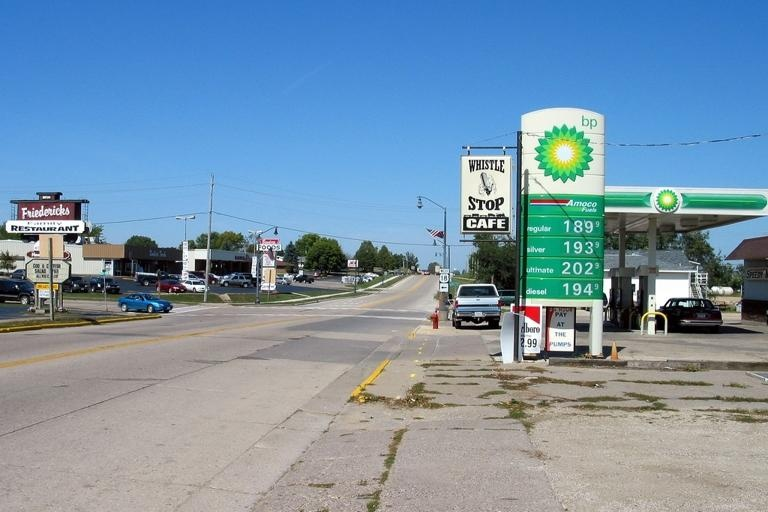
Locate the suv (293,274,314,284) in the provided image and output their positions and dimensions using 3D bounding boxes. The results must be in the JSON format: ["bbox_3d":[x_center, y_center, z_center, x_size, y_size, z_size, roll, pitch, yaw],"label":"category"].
[{"bbox_3d":[-12.900,3.817,107.172,2.445,1.113,1.579,4,1,19],"label":"suv"}]

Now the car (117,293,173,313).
[{"bbox_3d":[-15.258,3.118,42.743,3.231,1.004,1.443,-1,-2,8],"label":"car"}]

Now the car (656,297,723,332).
[{"bbox_3d":[13.433,2.621,29.618,1.443,0.863,3.267,0,0,3],"label":"car"}]

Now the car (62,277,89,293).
[{"bbox_3d":[-27.144,2.675,58.664,1.877,1.416,3.970,1,-4,-38],"label":"car"}]

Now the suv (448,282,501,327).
[{"bbox_3d":[4.333,2.419,31.130,2.050,2.122,2.040,0,3,10],"label":"suv"}]

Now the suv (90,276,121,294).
[{"bbox_3d":[-25.958,2.789,61.989,1.859,1.163,3.128,3,-5,-45],"label":"suv"}]
